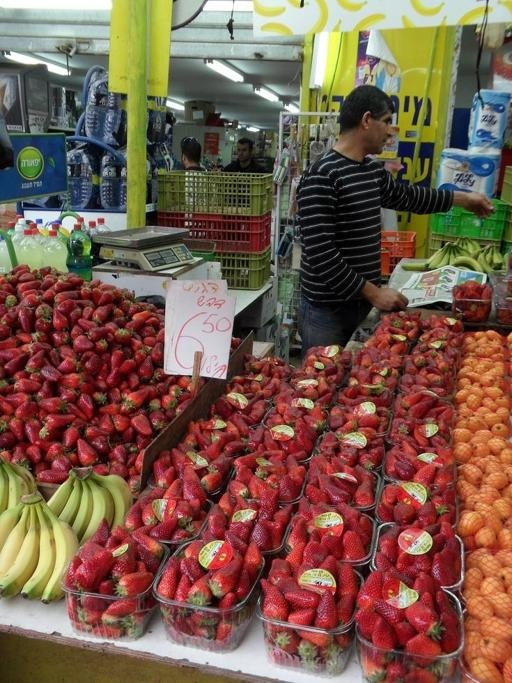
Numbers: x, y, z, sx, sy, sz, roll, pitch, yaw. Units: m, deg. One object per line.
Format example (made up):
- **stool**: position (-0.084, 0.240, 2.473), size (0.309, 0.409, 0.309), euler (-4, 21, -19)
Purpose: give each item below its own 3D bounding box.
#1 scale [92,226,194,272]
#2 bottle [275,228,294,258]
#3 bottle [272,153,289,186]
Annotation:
- **scale**: position (-0.700, -0.604, 3.201), size (0.487, 0.174, 0.576), euler (9, 21, 21)
- **bottle**: position (0.343, -1.143, 5.727), size (0.241, 0.296, 0.091), euler (10, 0, -6)
- **bottle**: position (0.294, -1.979, 5.618), size (0.152, 0.382, 0.283), euler (5, 18, 2)
